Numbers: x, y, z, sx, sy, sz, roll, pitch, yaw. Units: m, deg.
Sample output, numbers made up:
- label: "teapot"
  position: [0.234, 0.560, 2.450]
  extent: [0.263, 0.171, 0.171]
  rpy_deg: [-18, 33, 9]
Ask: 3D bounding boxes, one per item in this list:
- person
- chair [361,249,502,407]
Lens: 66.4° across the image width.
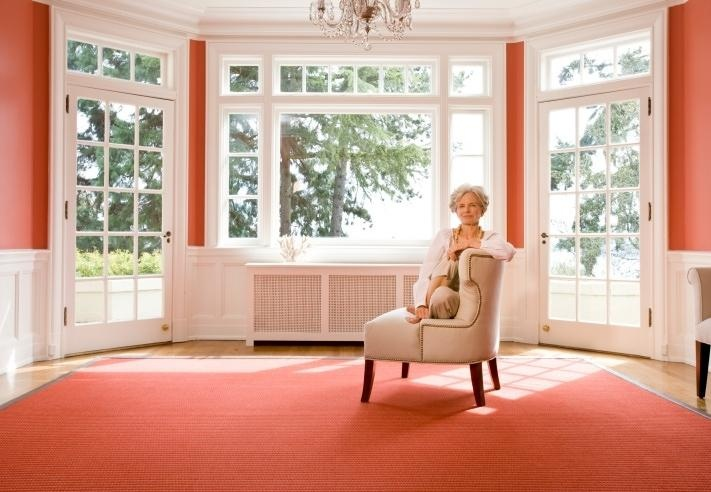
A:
- label: "person"
  position: [0.861, 0.131, 4.396]
  extent: [0.734, 1.235, 0.614]
  rpy_deg: [4, 7, 2]
- label: "chair"
  position: [0.642, 0.695, 4.711]
  extent: [1.173, 1.318, 0.997]
  rpy_deg: [1, -4, 11]
